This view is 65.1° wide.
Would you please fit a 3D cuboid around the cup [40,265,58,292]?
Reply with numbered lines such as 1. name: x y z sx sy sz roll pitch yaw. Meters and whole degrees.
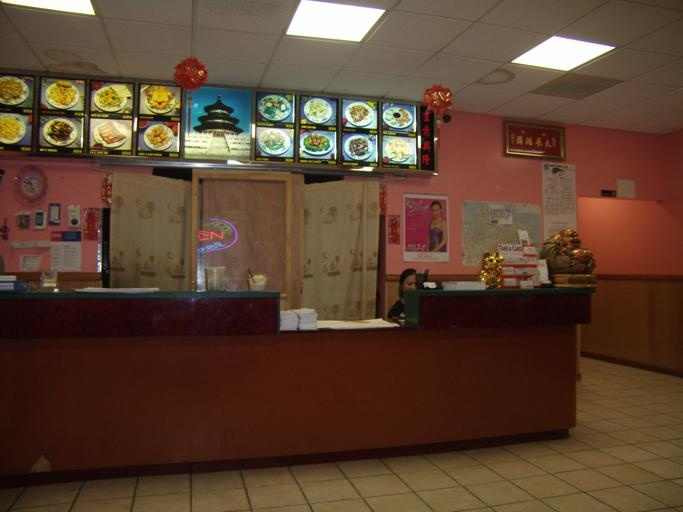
1. cup: -2.477 0.189 4.513 0.183 0.267 0.189 -3 -8 0

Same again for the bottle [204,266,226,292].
1. bottle: -1.001 0.182 4.253 0.171 0.235 0.187 -1 -2 0

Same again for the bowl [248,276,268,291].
1. bowl: -0.728 0.236 4.791 0.176 0.116 0.173 0 -4 0
